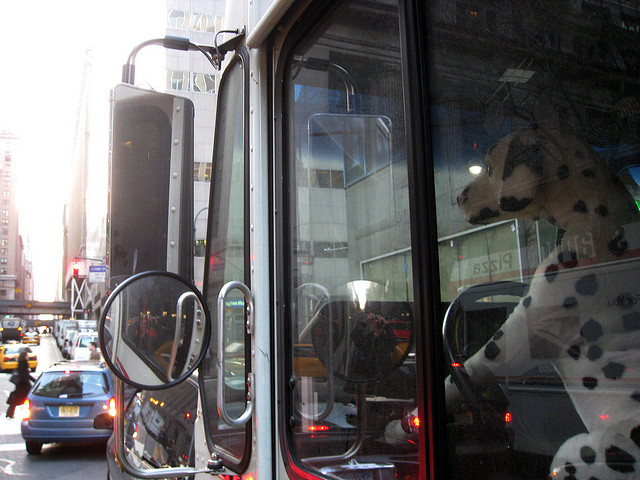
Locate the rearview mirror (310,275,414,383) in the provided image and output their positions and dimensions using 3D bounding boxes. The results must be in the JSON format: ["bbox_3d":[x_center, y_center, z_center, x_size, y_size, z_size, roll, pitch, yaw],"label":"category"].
[{"bbox_3d":[0.133,0.280,1.708,0.067,0.327,0.271,-2,-3,-45],"label":"rearview mirror"}]

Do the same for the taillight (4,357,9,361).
[{"bbox_3d":[-15.825,6.035,27.914,0.123,0.144,0.131,-13,-19,29],"label":"taillight"}]

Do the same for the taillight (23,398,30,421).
[{"bbox_3d":[-5.183,3.012,9.788,0.066,0.334,0.179,11,-37,-28],"label":"taillight"}]

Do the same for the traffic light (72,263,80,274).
[{"bbox_3d":[-13.983,1.620,31.642,0.606,0.765,0.157,-4,3,18],"label":"traffic light"}]

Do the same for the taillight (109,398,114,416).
[{"bbox_3d":[-3.735,2.997,9.898,0.053,0.258,0.181,-1,-4,-14],"label":"taillight"}]
